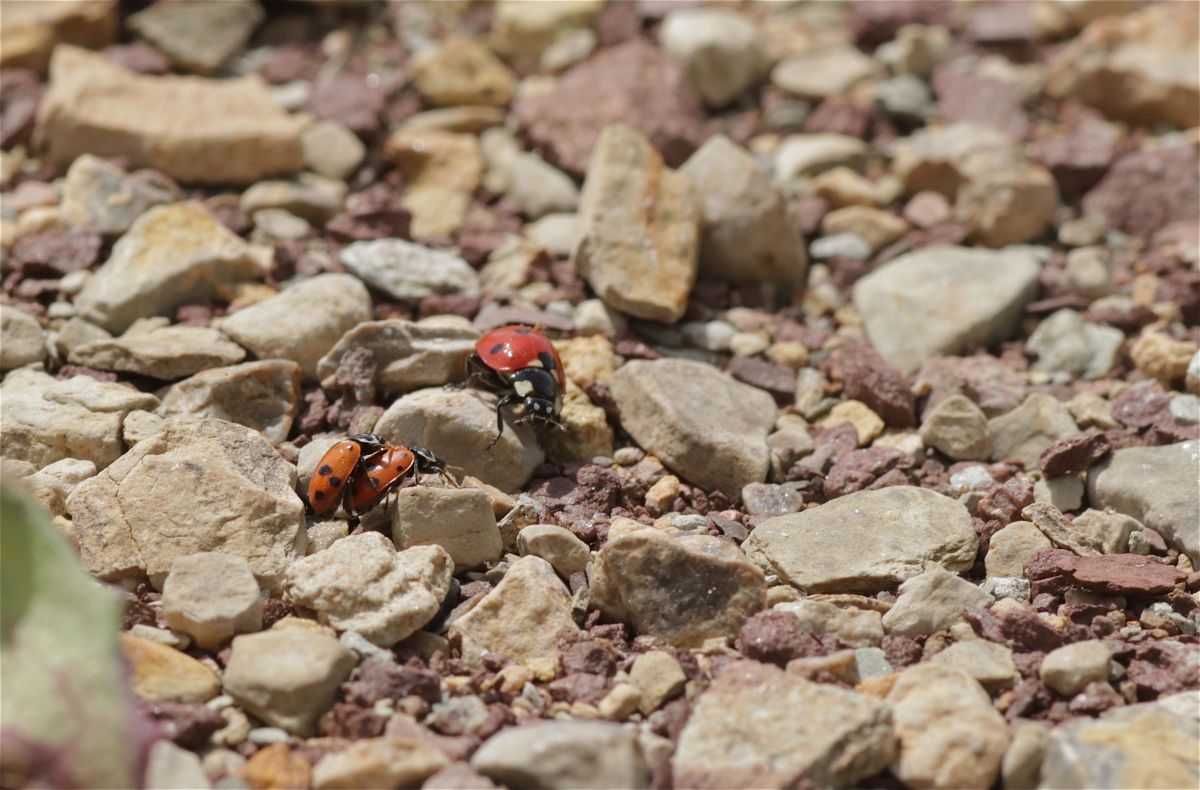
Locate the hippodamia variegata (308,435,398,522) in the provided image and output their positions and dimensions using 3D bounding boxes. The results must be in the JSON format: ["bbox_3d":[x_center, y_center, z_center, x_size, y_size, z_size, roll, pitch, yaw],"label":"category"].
[{"bbox_3d":[-1.292,0.410,6.610,0.396,0.149,0.394,-52,43,-1],"label":"hippodamia variegata"}]
